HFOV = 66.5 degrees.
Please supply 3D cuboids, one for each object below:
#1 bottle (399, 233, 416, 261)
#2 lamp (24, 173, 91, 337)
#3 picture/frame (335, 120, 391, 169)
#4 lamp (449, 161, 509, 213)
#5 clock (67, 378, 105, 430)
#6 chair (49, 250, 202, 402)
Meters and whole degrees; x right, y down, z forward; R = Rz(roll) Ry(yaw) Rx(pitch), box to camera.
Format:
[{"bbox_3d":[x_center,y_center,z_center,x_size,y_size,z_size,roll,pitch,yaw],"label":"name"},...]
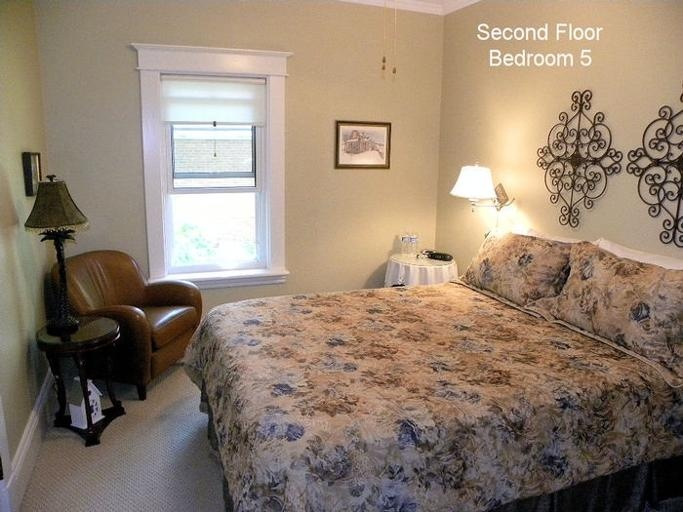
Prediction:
[{"bbox_3d":[0.633,-0.094,5.068,0.203,0.326,0.200,0,7,0],"label":"bottle"},{"bbox_3d":[-1.916,-0.026,3.527,0.499,1.017,0.365,8,15,37],"label":"lamp"},{"bbox_3d":[0.176,-1.099,5.084,0.458,0.383,0.021,-3,11,-17],"label":"picture/frame"},{"bbox_3d":[1.226,-0.562,4.523,0.536,0.352,0.413,7,9,-7],"label":"lamp"},{"bbox_3d":[-1.722,0.974,3.518,0.202,0.306,0.207,-4,5,12],"label":"clock"},{"bbox_3d":[-1.655,0.463,4.120,0.980,0.888,1.091,-1,10,-11],"label":"chair"}]
